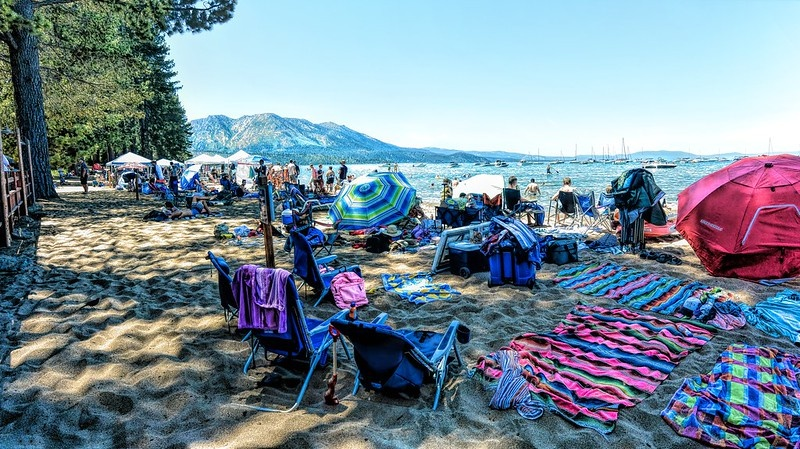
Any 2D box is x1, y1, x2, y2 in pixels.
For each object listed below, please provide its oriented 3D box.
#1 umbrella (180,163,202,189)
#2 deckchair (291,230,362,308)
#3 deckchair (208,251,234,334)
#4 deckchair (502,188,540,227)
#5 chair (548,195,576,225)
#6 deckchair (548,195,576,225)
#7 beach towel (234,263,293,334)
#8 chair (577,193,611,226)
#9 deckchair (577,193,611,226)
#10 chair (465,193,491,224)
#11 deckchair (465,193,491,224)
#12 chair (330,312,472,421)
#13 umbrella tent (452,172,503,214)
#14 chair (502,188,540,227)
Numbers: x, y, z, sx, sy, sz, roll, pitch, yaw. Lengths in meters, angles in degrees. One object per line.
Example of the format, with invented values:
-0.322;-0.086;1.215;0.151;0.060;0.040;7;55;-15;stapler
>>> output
-9.523;-2.128;24.116;0.501;1.245;1.502;22;-4;-36;umbrella
-1.689;1.007;13.066;1.722;1.366;1.081;2;4;-20;deckchair
-3.810;1.422;11.458;0.488;1.744;1.464;-3;10;-18;deckchair
4.206;-0.566;18.593;0.942;1.291;0.985;-19;19;-17;deckchair
5.993;-0.558;18.988;0.798;1.060;0.826;0;-4;26;chair
6.004;-0.536;19.003;1.040;1.049;0.981;4;-6;-22;deckchair
-2.708;1.511;10.538;1.617;1.493;0.626;2;5;13;beach towel
6.821;-0.553;18.742;1.155;1.286;1.690;4;10;23;chair
6.569;-0.501;18.340;1.074;1.071;1.031;3;2;24;deckchair
2.703;-0.571;17.458;0.767;0.408;1.219;7;21;36;chair
2.503;-0.579;17.459;0.662;1.036;0.387;7;-31;-3;deckchair
0.032;2.601;11.073;2.645;1.691;2.964;2;7;25;chair
2.949;-0.951;19.193;1.657;0.950;1.566;3;23;14;umbrella tent
4.179;-0.544;18.525;1.135;1.467;1.136;-14;8;-18;chair
